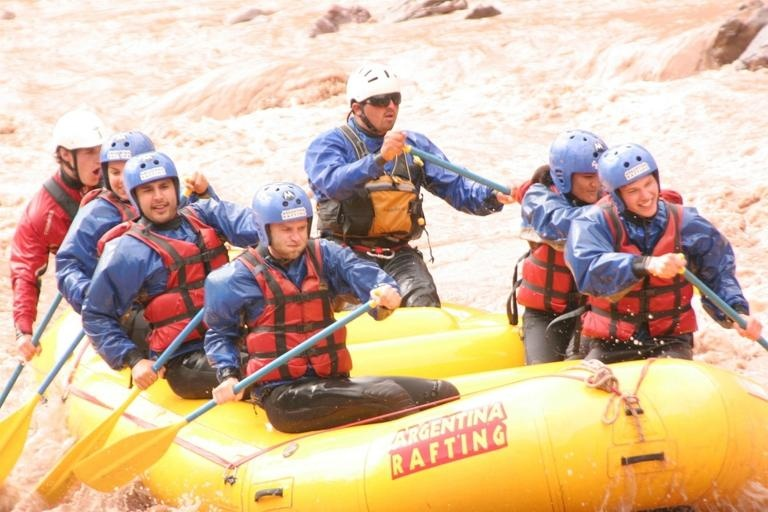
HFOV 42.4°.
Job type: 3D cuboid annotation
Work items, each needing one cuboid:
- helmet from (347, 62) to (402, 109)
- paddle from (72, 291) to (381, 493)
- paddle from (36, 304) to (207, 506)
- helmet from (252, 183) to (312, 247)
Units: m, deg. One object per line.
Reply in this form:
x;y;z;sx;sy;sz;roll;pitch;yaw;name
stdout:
-0.109;-1.488;8.599;0.417;0.336;0.309;-22;-6;34;helmet
-1.133;1.001;7.198;2.681;0.355;0.201;-31;-11;6;paddle
-1.979;1.171;7.594;2.147;0.239;0.060;-47;12;-14;paddle
-0.752;-0.312;7.021;0.366;0.358;0.469;-6;6;-35;helmet
